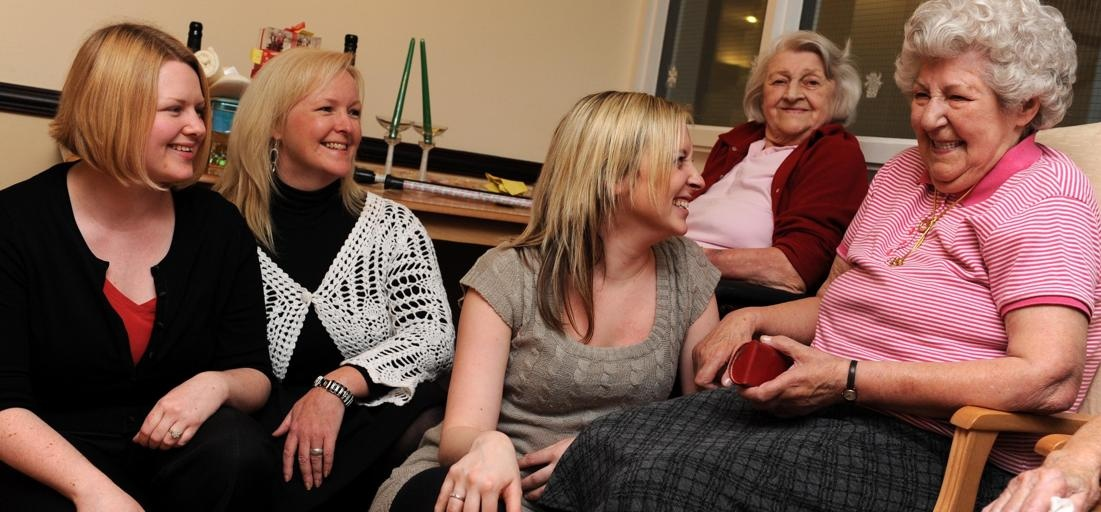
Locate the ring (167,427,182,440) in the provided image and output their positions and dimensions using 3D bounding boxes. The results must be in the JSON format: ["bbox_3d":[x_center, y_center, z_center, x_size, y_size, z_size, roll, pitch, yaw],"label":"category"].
[{"bbox_3d":[-1.186,0.563,2.165,0.032,0.013,0.038,9,6,9],"label":"ring"}]

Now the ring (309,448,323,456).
[{"bbox_3d":[-0.800,0.678,2.354,0.035,0.017,0.032,1,-5,7],"label":"ring"}]

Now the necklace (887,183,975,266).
[{"bbox_3d":[1.293,-0.106,2.326,0.036,0.430,0.134,46,-8,-24],"label":"necklace"}]

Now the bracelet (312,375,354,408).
[{"bbox_3d":[-0.766,0.485,2.428,0.092,0.050,0.090,6,-32,42],"label":"bracelet"}]
